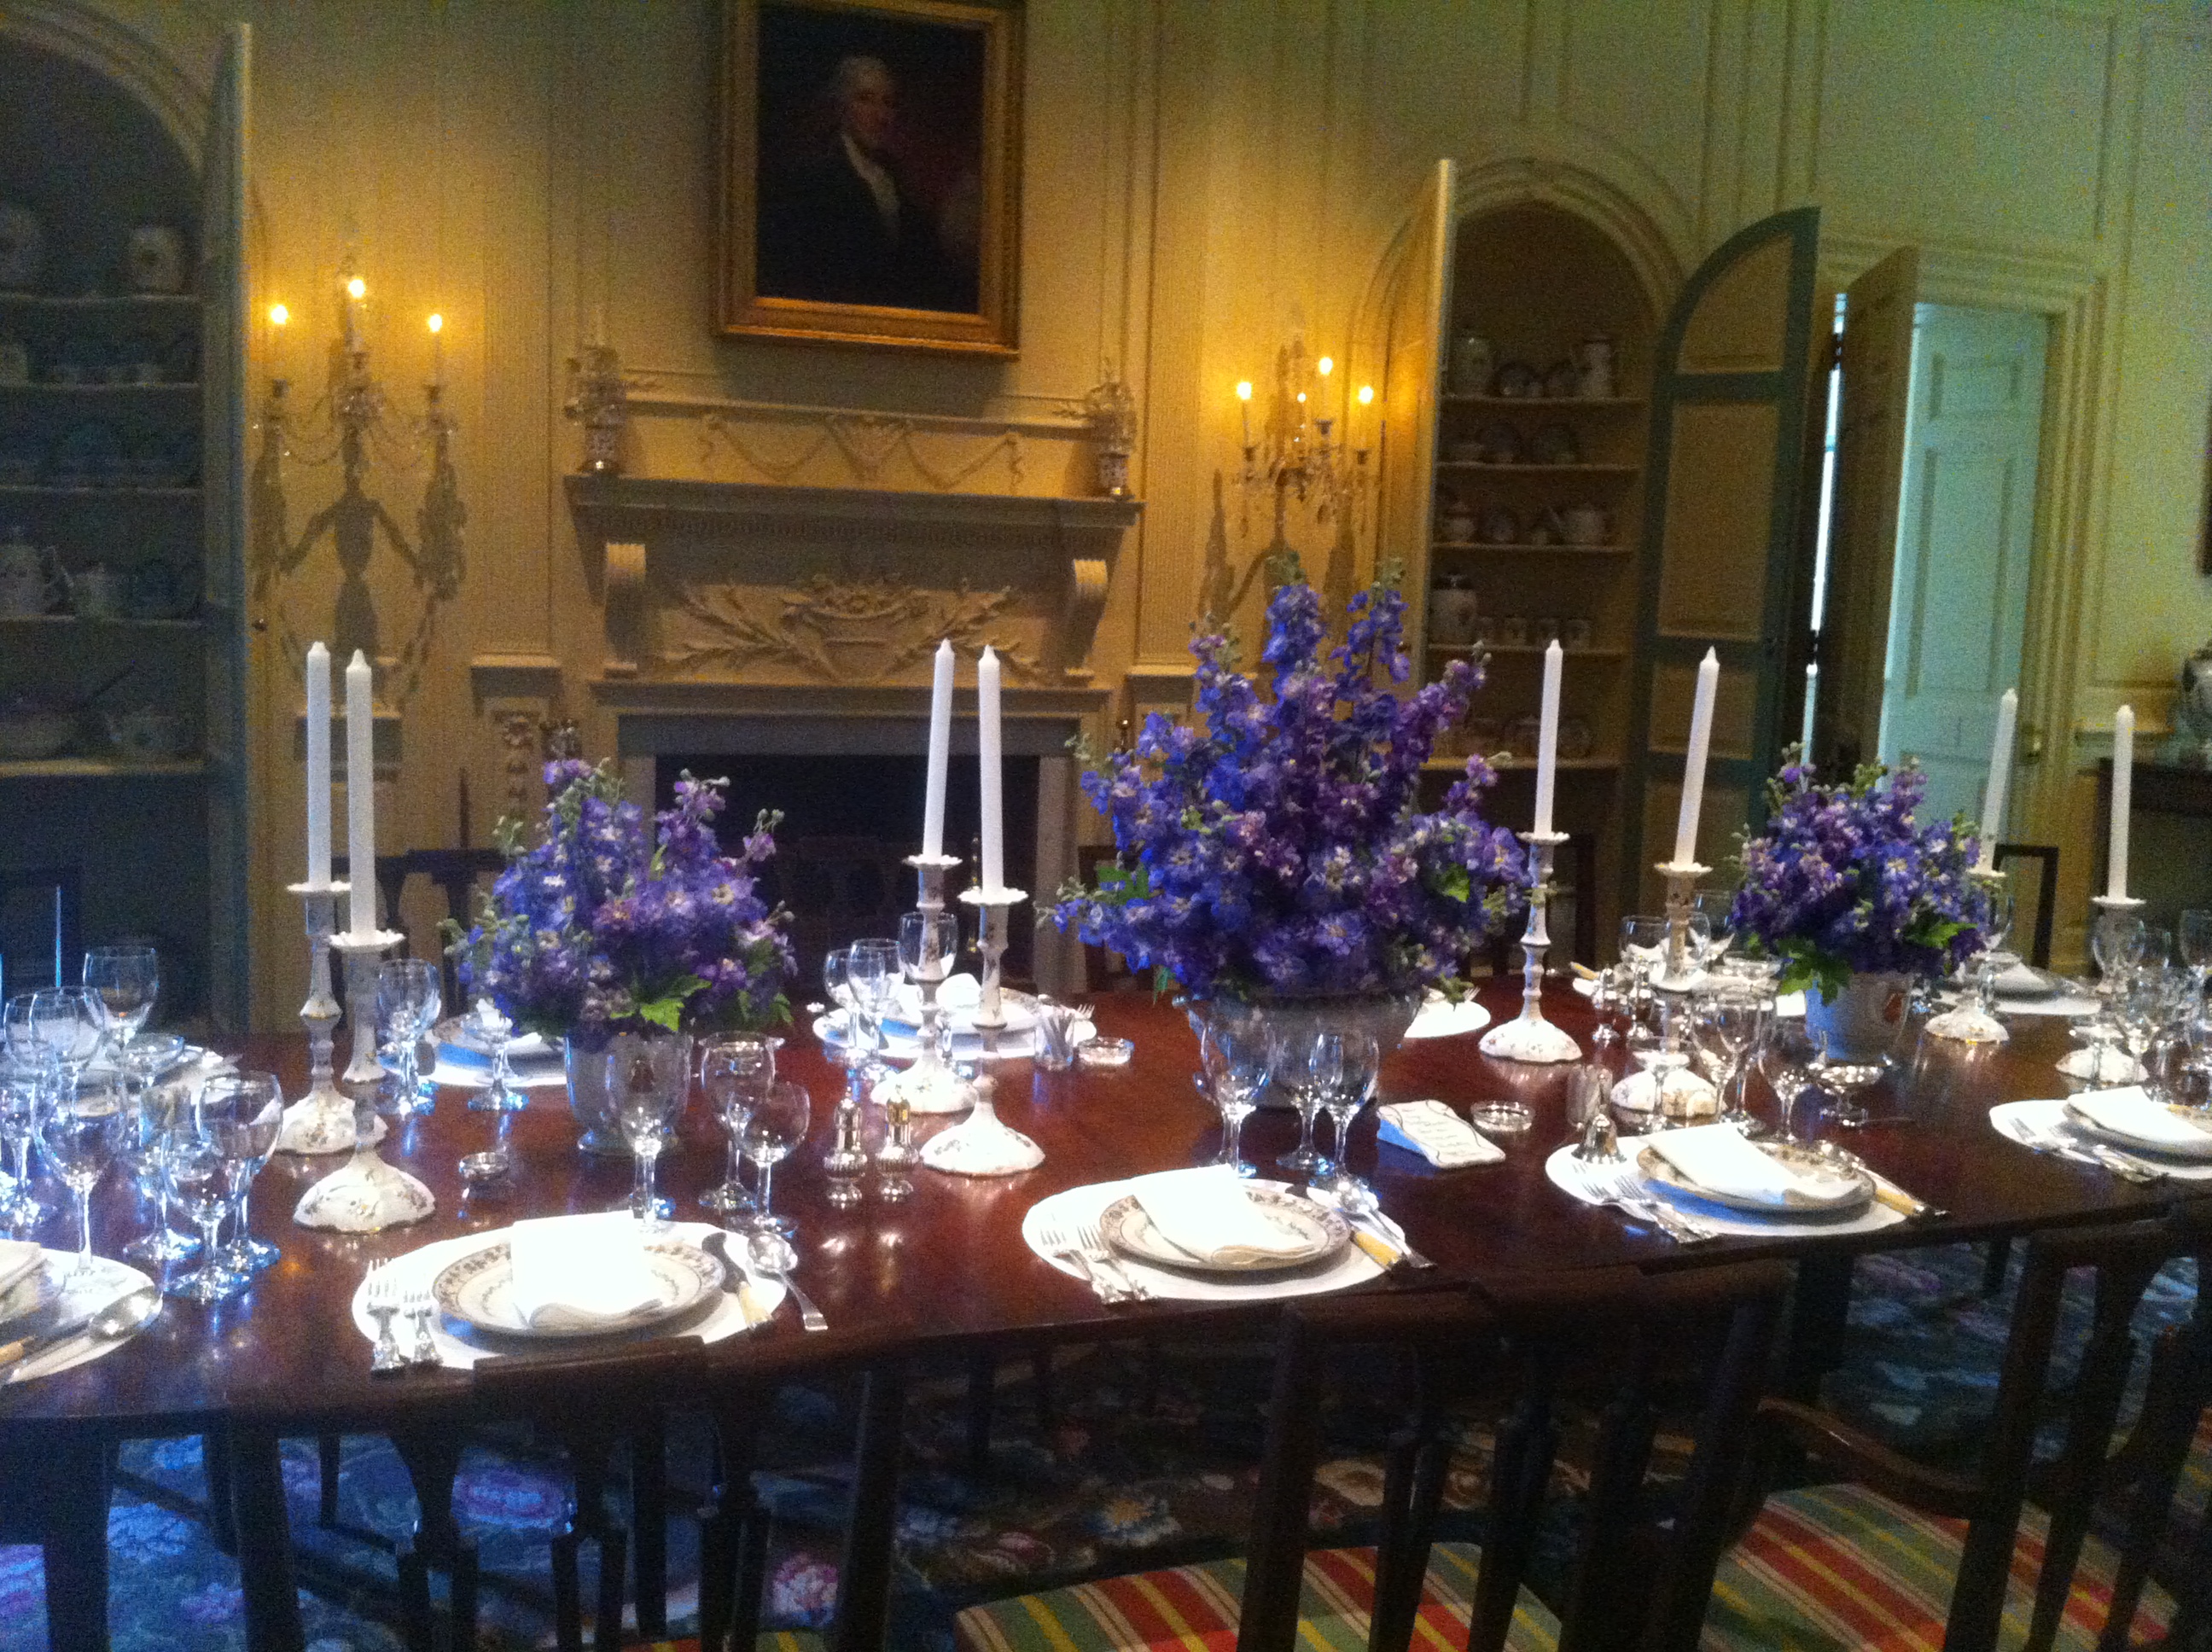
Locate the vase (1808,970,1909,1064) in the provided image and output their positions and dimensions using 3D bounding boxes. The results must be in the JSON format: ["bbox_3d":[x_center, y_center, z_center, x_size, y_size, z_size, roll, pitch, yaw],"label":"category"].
[{"bbox_3d":[1.219,0.306,3.187,0.142,0.121,0.147,-1,2,19],"label":"vase"}]

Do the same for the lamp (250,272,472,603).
[{"bbox_3d":[-2.087,-1.087,5.453,0.551,0.887,0.212,-2,6,-22],"label":"lamp"}]

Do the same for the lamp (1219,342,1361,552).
[{"bbox_3d":[0.624,-1.208,6.156,0.448,0.650,0.187,0,5,-5],"label":"lamp"}]

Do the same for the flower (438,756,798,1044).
[{"bbox_3d":[-0.694,0.144,2.945,0.413,0.430,0.433,4,0,13],"label":"flower"}]

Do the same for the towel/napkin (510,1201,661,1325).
[{"bbox_3d":[-0.631,0.544,2.390,0.173,0.104,0.146,-1,4,-19],"label":"towel/napkin"}]

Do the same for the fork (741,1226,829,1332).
[{"bbox_3d":[-0.411,0.566,2.484,0.062,0.040,0.265,5,15,-25],"label":"fork"}]

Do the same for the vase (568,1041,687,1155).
[{"bbox_3d":[-0.662,0.369,2.706,0.147,0.181,0.151,6,5,29],"label":"vase"}]

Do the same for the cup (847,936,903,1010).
[{"bbox_3d":[-0.370,0.230,3.103,0.097,0.166,0.098,2,3,0],"label":"cup"}]

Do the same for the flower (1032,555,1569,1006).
[{"bbox_3d":[0.302,0.066,2.985,0.623,0.570,0.660,-9,-15,32],"label":"flower"}]

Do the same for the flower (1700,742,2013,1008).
[{"bbox_3d":[1.282,0.088,3.329,0.380,0.420,0.401,-1,-7,16],"label":"flower"}]

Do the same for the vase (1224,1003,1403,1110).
[{"bbox_3d":[0.295,0.303,2.781,0.169,0.121,0.176,1,-1,1],"label":"vase"}]

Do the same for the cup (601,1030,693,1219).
[{"bbox_3d":[-0.633,0.395,2.701,0.097,0.245,0.290,-1,4,-15],"label":"cup"}]
